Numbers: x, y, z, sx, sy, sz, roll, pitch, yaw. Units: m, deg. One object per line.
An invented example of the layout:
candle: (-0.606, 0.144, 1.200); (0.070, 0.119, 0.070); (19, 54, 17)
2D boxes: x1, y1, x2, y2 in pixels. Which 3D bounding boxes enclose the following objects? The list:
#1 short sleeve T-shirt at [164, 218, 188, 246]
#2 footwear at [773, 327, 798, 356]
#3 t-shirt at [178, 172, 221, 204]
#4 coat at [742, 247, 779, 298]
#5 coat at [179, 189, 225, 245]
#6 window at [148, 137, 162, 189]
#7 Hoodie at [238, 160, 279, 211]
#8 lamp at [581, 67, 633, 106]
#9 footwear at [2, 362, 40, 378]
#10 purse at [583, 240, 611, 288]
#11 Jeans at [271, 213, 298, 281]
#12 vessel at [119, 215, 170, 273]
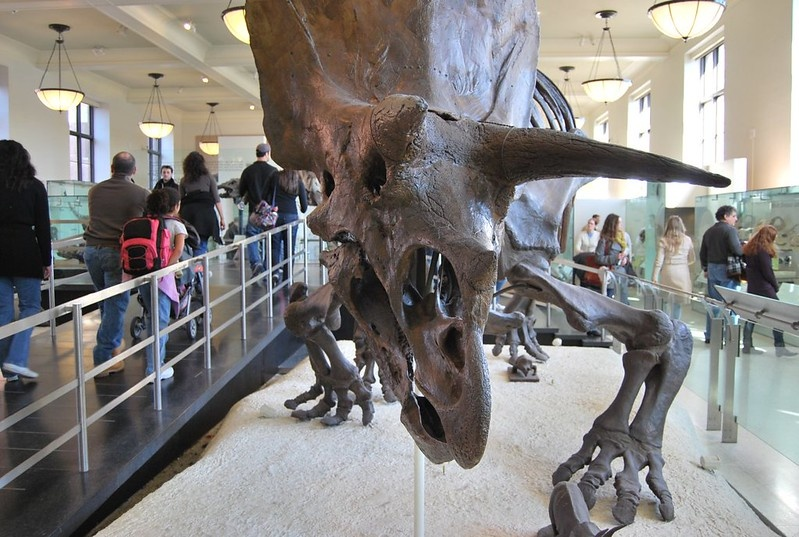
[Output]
short sleeve T-shirt: (-2.340, -0.414, 5.803); (0.240, 0.241, 0.156); (-6, 7, 0)
footwear: (2.853, 0.573, 4.132); (0.163, 0.234, 0.067); (-3, 11, 43)
t-shirt: (-2.628, -1.086, 7.394); (0.570, 0.573, 0.327); (0, -3, -13)
coat: (4.440, 0.046, 6.713); (0.340, 0.511, 0.553); (2, 10, 3)
coat: (-2.580, -0.736, 7.450); (0.552, 0.739, 0.541); (-5, 16, 11)
window: (-6.289, -2.719, 14.231); (0.053, 1.335, 0.310); (4, 5, 31)
Hoodie: (-2.059, -1.158, 8.274); (0.582, 0.769, 0.284); (7, 0, 21)
lamp: (4.469, -3.824, 12.016); (1.025, 0.460, 1.064); (1, 9, 1)
footwear: (-3.490, 0.951, 5.163); (0.312, 0.143, 0.109); (21, 22, -37)
purse: (2.929, -0.154, 8.483); (0.394, 0.572, 0.162); (-32, 42, -30)
Jeans: (-1.812, -0.344, 8.536); (0.345, 1.135, 0.279); (-9, 30, -39)
vessel: (-2.468, -0.212, 5.407); (0.456, 0.614, 0.321); (-5, -10, 0)
